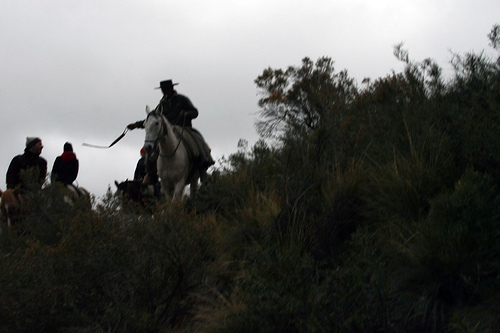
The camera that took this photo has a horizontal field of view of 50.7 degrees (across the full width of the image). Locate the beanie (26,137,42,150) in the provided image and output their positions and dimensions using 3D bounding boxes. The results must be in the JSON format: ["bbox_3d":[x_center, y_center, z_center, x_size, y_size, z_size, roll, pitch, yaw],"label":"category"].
[{"bbox_3d":[-4.835,-0.568,11.763,0.266,0.240,0.399,9,-26,-26],"label":"beanie"}]

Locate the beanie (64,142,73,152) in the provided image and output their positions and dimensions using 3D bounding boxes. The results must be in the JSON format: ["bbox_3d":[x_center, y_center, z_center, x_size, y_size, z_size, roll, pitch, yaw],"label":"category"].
[{"bbox_3d":[-3.925,-0.422,11.335,0.171,0.220,0.239,0,-5,2],"label":"beanie"}]

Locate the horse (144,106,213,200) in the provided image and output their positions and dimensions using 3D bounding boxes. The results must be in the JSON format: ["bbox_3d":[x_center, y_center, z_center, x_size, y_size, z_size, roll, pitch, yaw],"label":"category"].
[{"bbox_3d":[-1.763,-0.242,12.803,0.628,2.491,2.373,-11,-24,22],"label":"horse"}]

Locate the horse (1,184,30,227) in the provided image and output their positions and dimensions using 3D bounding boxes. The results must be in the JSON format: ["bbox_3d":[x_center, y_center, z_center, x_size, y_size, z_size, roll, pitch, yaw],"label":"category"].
[{"bbox_3d":[-5.111,0.892,11.365,0.766,0.931,0.385,-18,-26,33],"label":"horse"}]

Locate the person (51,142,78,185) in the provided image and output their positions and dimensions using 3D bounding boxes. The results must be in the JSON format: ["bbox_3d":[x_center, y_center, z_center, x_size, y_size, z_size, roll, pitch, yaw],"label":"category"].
[{"bbox_3d":[-4.574,-0.052,13.050,0.486,0.475,1.515,-4,-38,-28],"label":"person"}]
